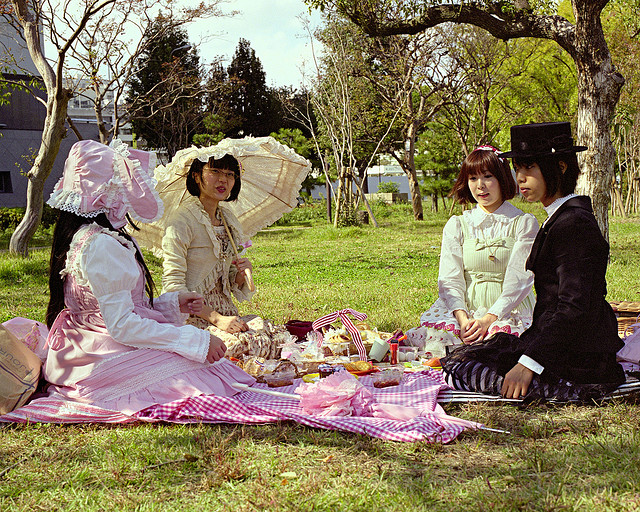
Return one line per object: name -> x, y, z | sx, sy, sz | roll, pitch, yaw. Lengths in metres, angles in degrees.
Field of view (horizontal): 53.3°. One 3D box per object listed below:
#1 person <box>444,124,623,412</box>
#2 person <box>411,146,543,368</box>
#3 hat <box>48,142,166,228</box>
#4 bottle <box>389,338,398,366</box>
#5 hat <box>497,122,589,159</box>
person -> 1.589, -0.012, 4.320 | 1.105, 1.616, 1.065 | -18, 10, -36
person -> 1.266, -0.055, 5.120 | 1.009, 1.670, 1.248 | 2, 12, 37
hat -> -1.368, -0.498, 4.134 | 0.740, 0.496, 0.710 | -5, 22, 0
bottle -> 0.611, 0.768, 5.212 | 0.068, 0.203, 0.093 | -1, 5, 5
hat -> 1.492, -0.781, 4.239 | 0.619, 0.212, 0.666 | -3, 10, 18
